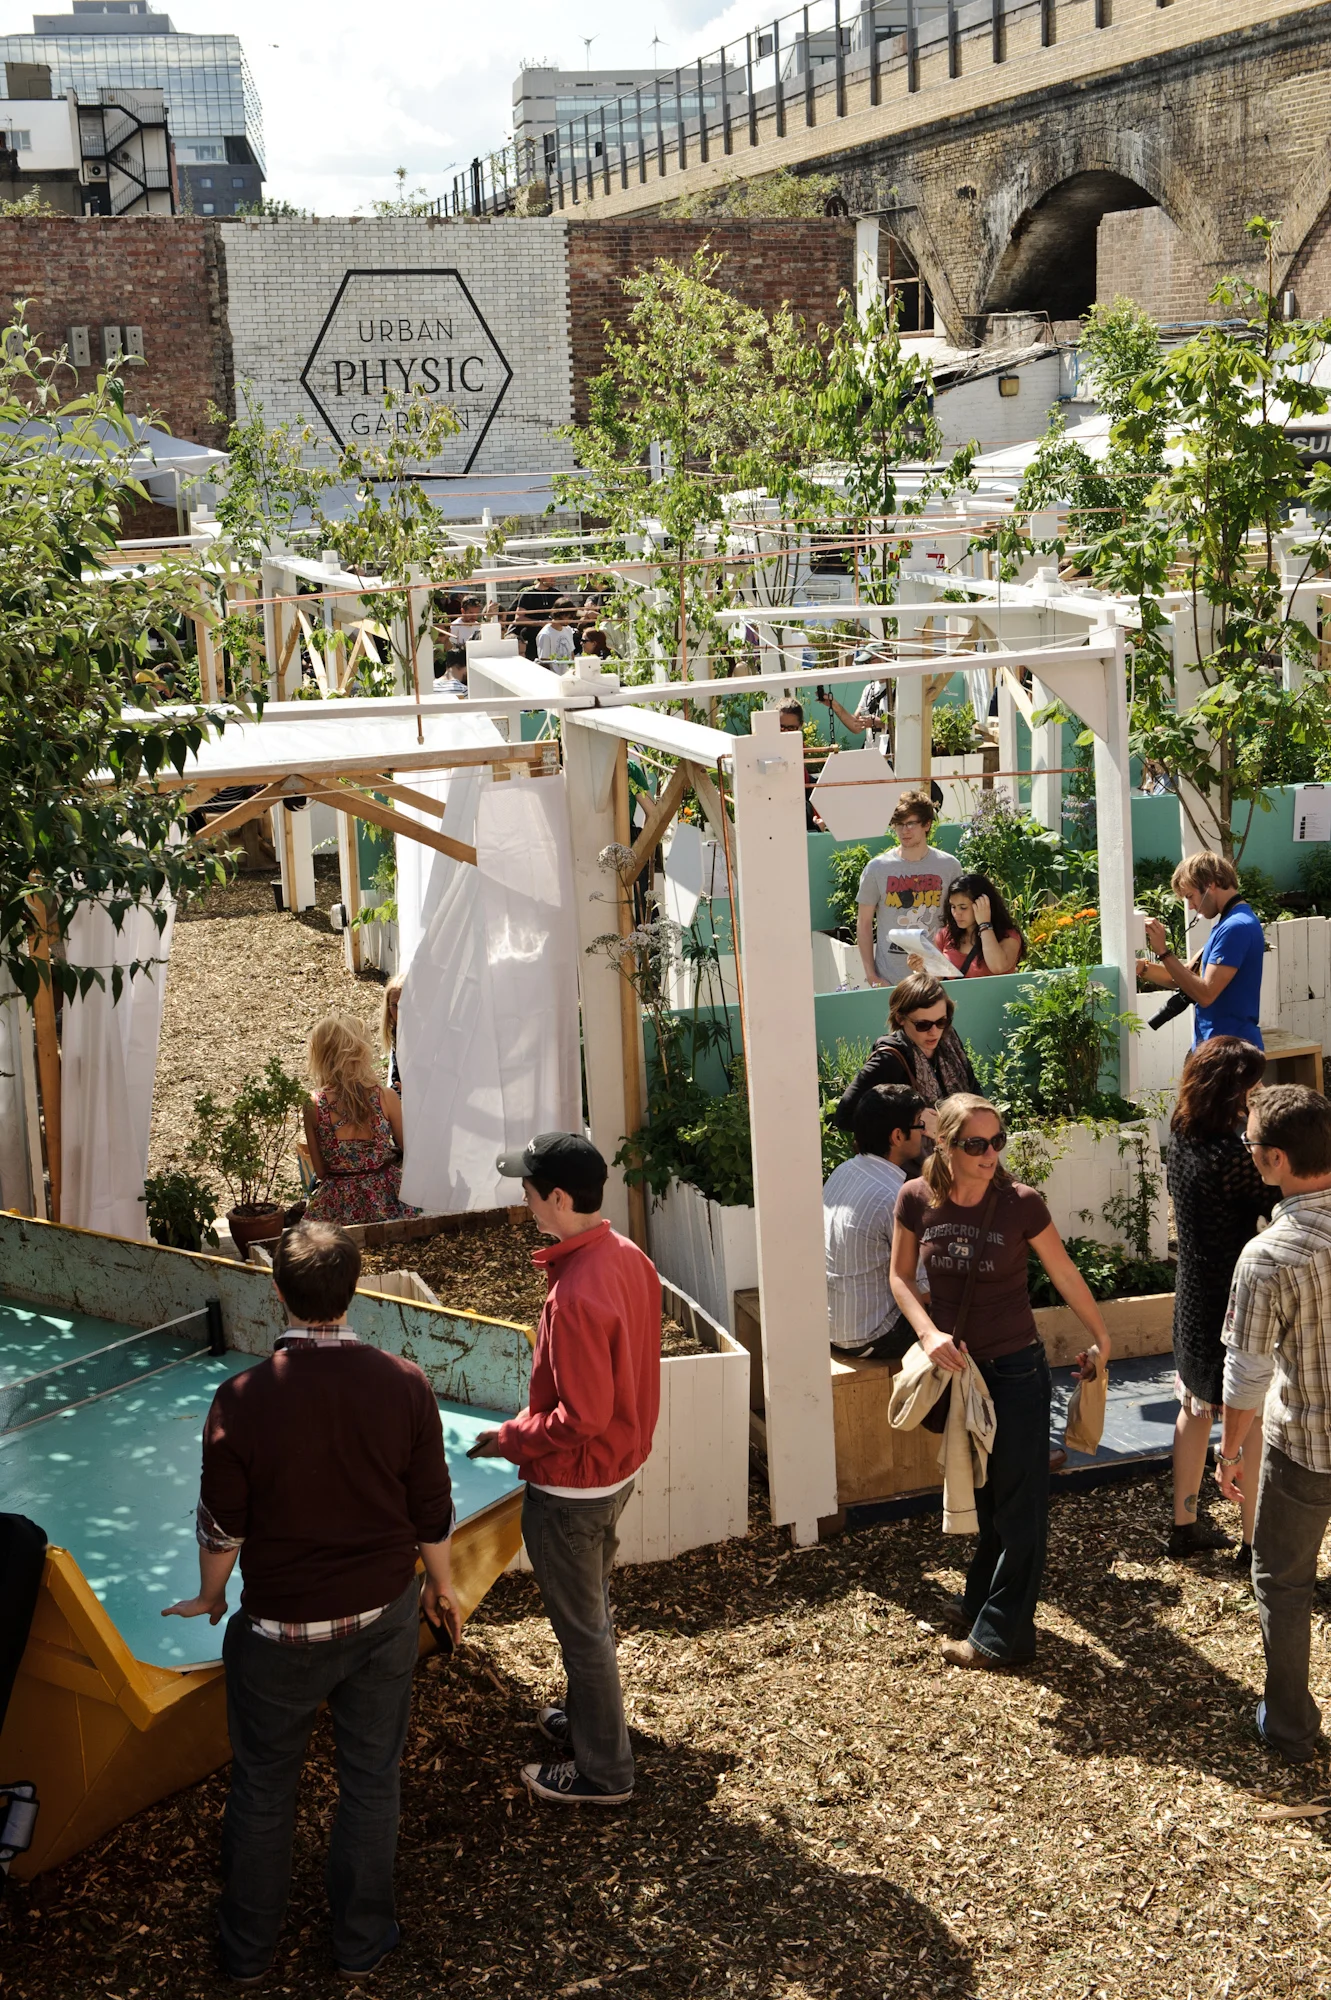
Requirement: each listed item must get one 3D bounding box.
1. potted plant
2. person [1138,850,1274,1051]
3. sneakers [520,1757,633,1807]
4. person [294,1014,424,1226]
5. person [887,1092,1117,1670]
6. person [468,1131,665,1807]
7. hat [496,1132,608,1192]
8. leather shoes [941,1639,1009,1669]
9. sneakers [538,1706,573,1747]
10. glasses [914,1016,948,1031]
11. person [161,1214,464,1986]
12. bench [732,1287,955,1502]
[{"bbox_3d":[-1.737,0.670,6.963,0.527,0.774,0.516,-7,31,-8],"label":"potted plant"},{"bbox_3d":[1.940,-0.145,6.130,0.427,0.769,1.243,3,9,16],"label":"person"},{"bbox_3d":[-0.183,1.595,3.507,0.225,0.088,0.091,12,-8,10],"label":"sneakers"},{"bbox_3d":[-1.195,0.461,6.425,0.377,0.812,0.363,-1,9,-12],"label":"person"},{"bbox_3d":[0.788,0.904,4.076,0.511,1.371,0.322,2,9,7],"label":"person"},{"bbox_3d":[-0.209,0.963,3.397,0.342,1.412,0.322,3,9,15],"label":"person"},{"bbox_3d":[-0.231,0.337,3.300,0.173,0.097,0.118,5,10,16],"label":"hat"},{"bbox_3d":[0.734,1.578,4.060,0.128,0.054,0.059,-3,-5,37],"label":"leather shoes"},{"bbox_3d":[-0.246,1.586,3.695,0.057,0.072,0.169,-1,-37,-6],"label":"sneakers"},{"bbox_3d":[0.856,0.084,5.452,0.040,0.048,0.136,8,11,39],"label":"glasses"},{"bbox_3d":[-0.604,1.045,2.889,0.473,1.296,0.254,-1,9,-13],"label":"person"},{"bbox_3d":[0.530,1.281,5.102,0.464,0.516,0.848,-5,9,-14],"label":"bench"}]
